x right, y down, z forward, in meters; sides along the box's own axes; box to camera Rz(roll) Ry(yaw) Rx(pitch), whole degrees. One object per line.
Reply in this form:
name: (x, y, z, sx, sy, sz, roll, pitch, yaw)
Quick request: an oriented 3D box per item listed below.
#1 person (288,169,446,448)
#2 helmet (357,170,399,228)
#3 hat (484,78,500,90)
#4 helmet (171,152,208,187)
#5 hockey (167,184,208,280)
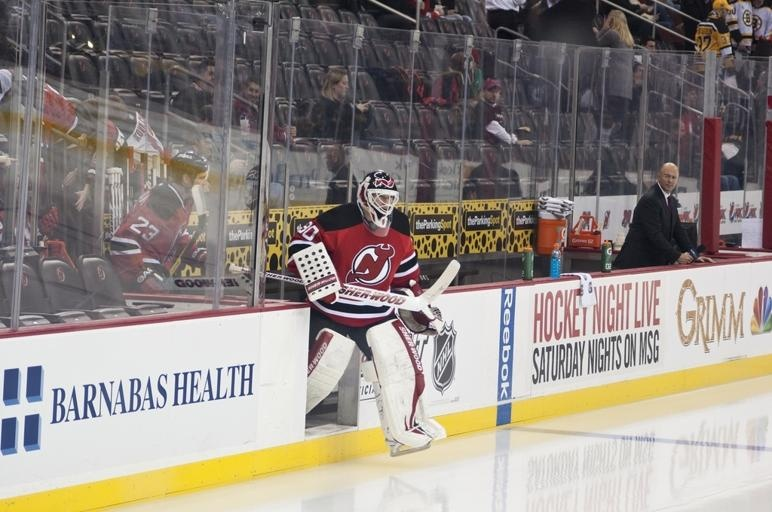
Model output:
person: (-0.138, 0.448, 12.973, 1.097, 2.192, 0.374, -2, 2, -4)
helmet: (-0.067, -0.445, 12.838, 0.346, 0.467, 0.412, 0, 5, -21)
hat: (0.958, -1.567, 15.014, 0.089, 0.096, 0.118, 2, 4, -14)
helmet: (-1.448, -0.661, 12.324, 0.263, 0.241, 0.201, -6, 28, -18)
hockey: (-1.481, -0.206, 12.323, 0.115, 0.705, 0.124, 20, 1, -35)
